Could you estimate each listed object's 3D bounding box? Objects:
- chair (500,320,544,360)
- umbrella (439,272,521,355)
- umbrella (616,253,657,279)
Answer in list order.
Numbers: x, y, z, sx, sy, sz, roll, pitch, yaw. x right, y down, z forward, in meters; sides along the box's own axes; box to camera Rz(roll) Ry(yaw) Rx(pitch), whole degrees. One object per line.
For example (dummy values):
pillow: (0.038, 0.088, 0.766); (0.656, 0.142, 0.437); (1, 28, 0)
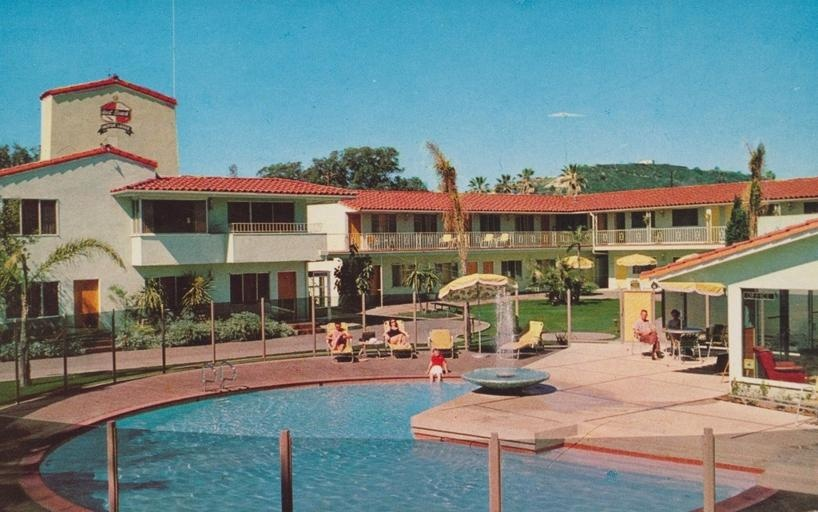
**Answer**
chair: (5.012, 3.717, 36.697); (1.125, 1.147, 2.188); (9, 24, 30)
umbrella: (2.967, 1.307, 37.120); (3.246, 1.089, 2.696); (-3, -5, 1)
umbrella: (15.378, 0.611, 58.043); (2.595, 1.489, 2.452); (-1, 0, -5)
